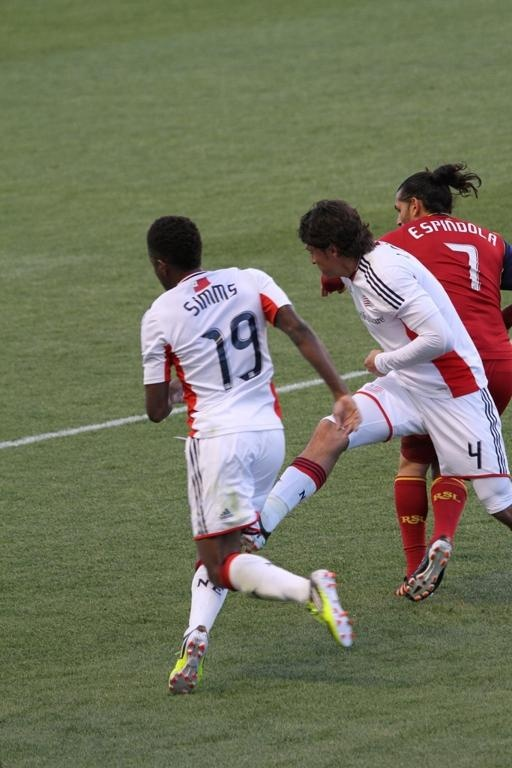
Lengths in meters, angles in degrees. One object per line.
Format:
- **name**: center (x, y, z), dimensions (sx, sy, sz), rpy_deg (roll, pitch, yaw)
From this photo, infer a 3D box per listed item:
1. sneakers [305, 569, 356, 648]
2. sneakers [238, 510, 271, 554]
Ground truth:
- **sneakers**: center (0.223, 0.673, 3.509), dimensions (0.129, 0.256, 0.099), rpy_deg (-23, 10, 10)
- **sneakers**: center (-0.002, 0.532, 3.982), dimensions (0.075, 0.183, 0.072), rpy_deg (6, 87, 8)
